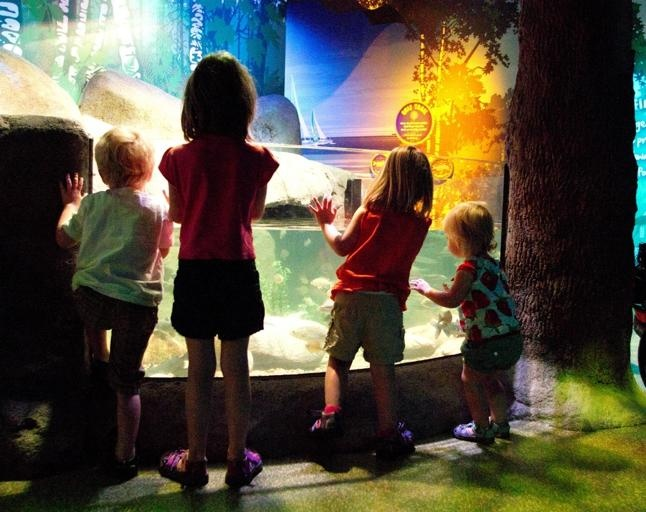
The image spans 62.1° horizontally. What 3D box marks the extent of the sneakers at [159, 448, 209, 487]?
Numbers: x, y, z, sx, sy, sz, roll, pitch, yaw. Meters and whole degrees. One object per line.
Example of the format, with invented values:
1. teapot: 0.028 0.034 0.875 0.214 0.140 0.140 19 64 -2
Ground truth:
1. sneakers: -0.828 1.226 3.230 0.330 0.155 0.152 12 -1 38

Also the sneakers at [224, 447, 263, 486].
1. sneakers: -0.473 1.236 3.211 0.120 0.138 0.285 0 9 7

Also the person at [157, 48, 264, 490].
1. person: -0.621 0.078 3.158 0.678 2.477 0.658 1 13 2

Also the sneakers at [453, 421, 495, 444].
1. sneakers: 1.038 1.216 3.675 0.248 0.129 0.114 5 5 33

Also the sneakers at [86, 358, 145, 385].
1. sneakers: -1.280 0.728 3.299 0.267 0.122 0.199 5 -3 -2

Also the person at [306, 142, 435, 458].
1. person: 0.332 0.296 3.488 0.778 1.948 0.634 0 13 0

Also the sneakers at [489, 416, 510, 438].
1. sneakers: 1.221 1.176 3.714 0.074 0.086 0.187 -2 6 -4
